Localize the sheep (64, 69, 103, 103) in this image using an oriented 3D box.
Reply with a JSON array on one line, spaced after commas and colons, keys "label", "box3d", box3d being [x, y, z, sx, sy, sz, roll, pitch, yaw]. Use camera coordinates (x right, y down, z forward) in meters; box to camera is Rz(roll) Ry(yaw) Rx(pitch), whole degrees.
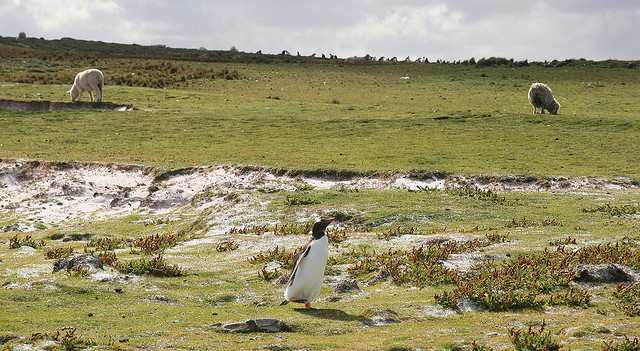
[{"label": "sheep", "box3d": [-23.010, -8.847, 108.122, 5.767, 2.495, 1.816, -4, 2, 41]}]
